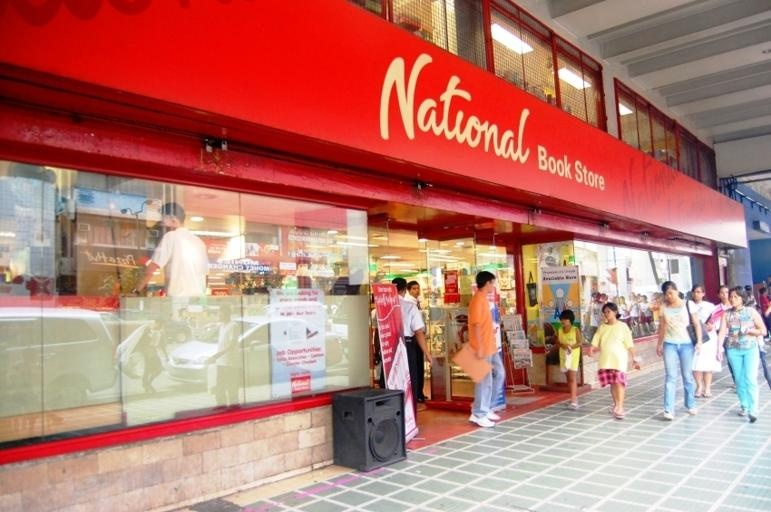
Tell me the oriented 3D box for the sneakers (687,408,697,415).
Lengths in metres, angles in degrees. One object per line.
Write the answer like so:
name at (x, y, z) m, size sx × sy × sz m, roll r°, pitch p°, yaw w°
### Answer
sneakers at (4.630, 2.341, 8.330) m, size 0.063 × 0.110 × 0.164 m, roll -1°, pitch 2°, yaw 12°

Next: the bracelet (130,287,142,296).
bracelet at (-2.570, 0.361, 5.664) m, size 0.093 × 0.027 × 0.030 m, roll -17°, pitch -4°, yaw -20°

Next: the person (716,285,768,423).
person at (5.254, 1.420, 8.070) m, size 0.472 × 1.819 × 0.606 m, roll -2°, pitch -1°, yaw 2°

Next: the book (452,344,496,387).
book at (1.292, 1.597, 8.081) m, size 0.585 × 0.471 × 0.177 m, roll 42°, pitch 10°, yaw 13°

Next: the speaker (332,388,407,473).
speaker at (-0.208, 2.106, 6.787) m, size 0.679 × 0.805 × 0.883 m, roll -6°, pitch -12°, yaw 27°

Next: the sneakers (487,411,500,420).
sneakers at (1.614, 2.400, 8.278) m, size 0.114 × 0.088 × 0.221 m, roll 2°, pitch -6°, yaw -41°

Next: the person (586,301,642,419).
person at (3.565, 1.589, 8.622) m, size 0.641 × 1.392 × 0.939 m, roll -2°, pitch -1°, yaw 24°

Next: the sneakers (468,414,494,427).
sneakers at (1.403, 2.408, 8.086) m, size 0.367 × 0.176 × 0.145 m, roll 1°, pitch -3°, yaw 17°

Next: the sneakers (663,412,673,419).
sneakers at (4.120, 2.335, 8.051) m, size 0.162 × 0.064 × 0.084 m, roll -1°, pitch 3°, yaw -35°

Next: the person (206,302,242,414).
person at (-1.778, 1.069, 6.103) m, size 0.369 × 1.182 × 0.105 m, roll -1°, pitch -1°, yaw -27°

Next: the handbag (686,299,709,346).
handbag at (4.780, 1.043, 8.478) m, size 0.173 × 0.715 × 0.422 m, roll -22°, pitch -9°, yaw 17°

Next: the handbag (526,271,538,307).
handbag at (2.925, 0.677, 11.048) m, size 0.166 × 0.469 × 0.221 m, roll -1°, pitch -1°, yaw -21°
